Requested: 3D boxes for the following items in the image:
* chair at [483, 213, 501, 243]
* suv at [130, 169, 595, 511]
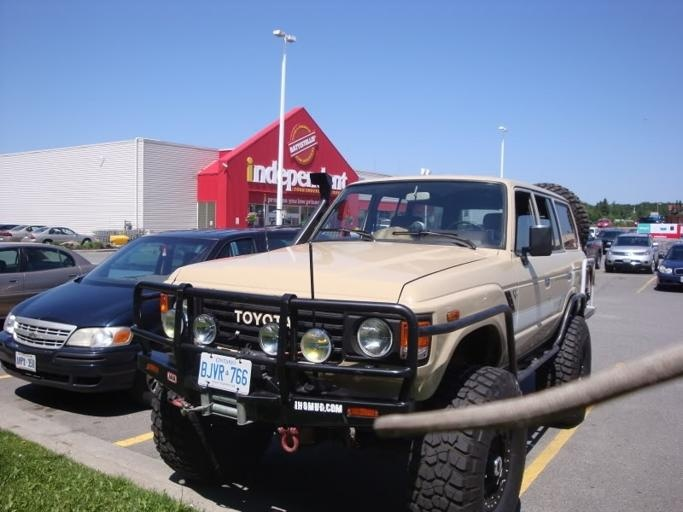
[{"bbox_3d":[1.318,-0.238,4.500,0.171,0.244,0.252,-3,16,13],"label":"chair"},{"bbox_3d":[0.683,0.479,4.733,2.427,2.195,4.112,0,0,34],"label":"suv"}]
